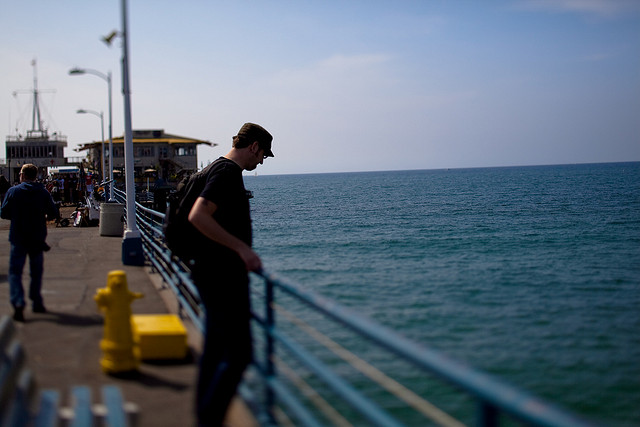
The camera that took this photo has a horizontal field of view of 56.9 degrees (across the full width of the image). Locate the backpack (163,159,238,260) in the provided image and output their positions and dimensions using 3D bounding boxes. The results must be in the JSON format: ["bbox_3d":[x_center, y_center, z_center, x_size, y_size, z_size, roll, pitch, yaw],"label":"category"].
[{"bbox_3d":[-1.131,-0.094,5.999,0.761,0.644,0.437,7,-17,-41],"label":"backpack"}]

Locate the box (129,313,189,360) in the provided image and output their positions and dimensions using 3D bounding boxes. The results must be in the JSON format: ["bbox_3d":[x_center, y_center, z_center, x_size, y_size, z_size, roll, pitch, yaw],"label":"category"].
[{"bbox_3d":[-2.216,1.658,7.960,0.688,0.384,0.898,3,5,-29],"label":"box"}]

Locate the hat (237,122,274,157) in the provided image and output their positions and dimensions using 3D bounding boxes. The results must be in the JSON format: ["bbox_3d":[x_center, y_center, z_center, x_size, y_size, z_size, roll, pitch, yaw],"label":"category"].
[{"bbox_3d":[-0.630,-0.725,5.868,0.297,0.310,0.198,2,8,18],"label":"hat"}]

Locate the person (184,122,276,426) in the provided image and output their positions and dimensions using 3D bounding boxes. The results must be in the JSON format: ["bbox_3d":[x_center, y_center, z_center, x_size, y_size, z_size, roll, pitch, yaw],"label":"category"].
[{"bbox_3d":[-0.881,0.713,5.704,0.803,3.127,0.633,-1,7,-11],"label":"person"}]

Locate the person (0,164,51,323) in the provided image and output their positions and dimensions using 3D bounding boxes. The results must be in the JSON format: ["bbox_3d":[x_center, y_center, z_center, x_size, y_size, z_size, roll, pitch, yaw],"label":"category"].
[{"bbox_3d":[-4.690,0.444,9.312,0.598,2.372,0.880,2,7,12],"label":"person"}]
